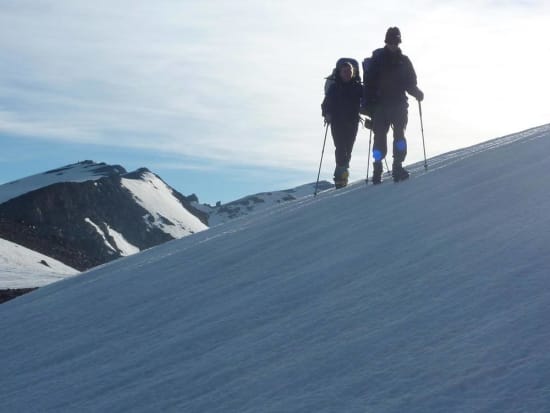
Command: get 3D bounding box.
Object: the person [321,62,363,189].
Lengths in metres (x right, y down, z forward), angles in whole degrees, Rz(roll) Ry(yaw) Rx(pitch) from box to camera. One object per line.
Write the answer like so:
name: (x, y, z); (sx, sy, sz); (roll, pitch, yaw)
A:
person: (1.399, -1.572, 15.088); (0.811, 1.797, 1.239); (-4, 2, 5)

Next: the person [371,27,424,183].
person: (2.044, -1.706, 13.303); (0.622, 1.848, 1.048); (-5, 2, -34)
